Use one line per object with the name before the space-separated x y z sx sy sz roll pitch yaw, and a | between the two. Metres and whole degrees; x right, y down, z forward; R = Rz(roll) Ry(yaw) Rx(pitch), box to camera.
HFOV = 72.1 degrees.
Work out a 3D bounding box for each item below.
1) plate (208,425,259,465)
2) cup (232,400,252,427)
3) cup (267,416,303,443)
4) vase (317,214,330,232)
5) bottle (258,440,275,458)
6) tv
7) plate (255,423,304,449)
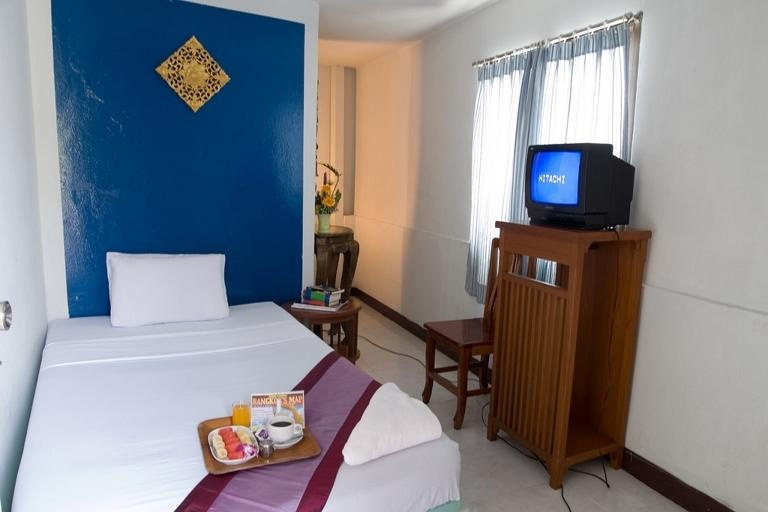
plate | -0.757 0.955 2.669 0.229 0.114 0.195 -8 13 -24
cup | -0.753 0.851 2.855 0.119 0.118 0.090 -1 6 -41
cup | -0.517 0.892 2.743 0.140 0.075 0.115 10 6 15
vase | -0.569 -0.309 4.992 0.110 0.171 0.151 -4 12 -7
bottle | -0.605 0.968 2.663 0.095 0.082 0.060 1 12 15
tv | 1.314 -0.451 3.624 0.553 0.619 0.613 -4 11 -19
plate | -0.531 0.941 2.734 0.150 0.064 0.140 -1 8 -39
